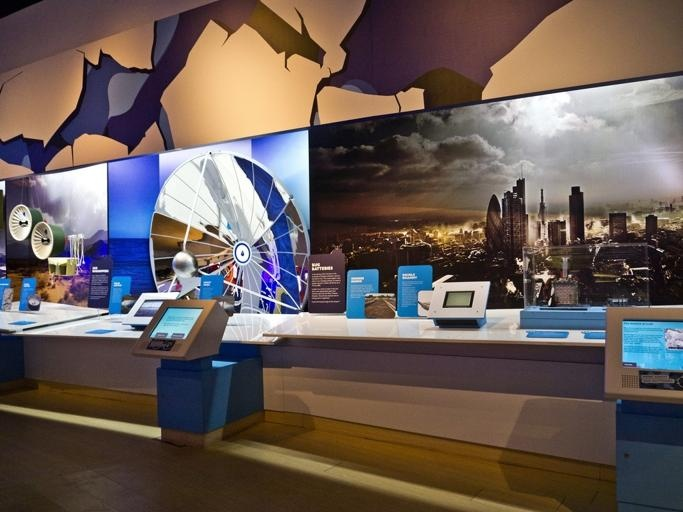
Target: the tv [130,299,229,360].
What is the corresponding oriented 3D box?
[{"bbox_3d":[-1.172,0.538,3.391,0.571,0.439,0.444,-6,7,30],"label":"tv"}]
